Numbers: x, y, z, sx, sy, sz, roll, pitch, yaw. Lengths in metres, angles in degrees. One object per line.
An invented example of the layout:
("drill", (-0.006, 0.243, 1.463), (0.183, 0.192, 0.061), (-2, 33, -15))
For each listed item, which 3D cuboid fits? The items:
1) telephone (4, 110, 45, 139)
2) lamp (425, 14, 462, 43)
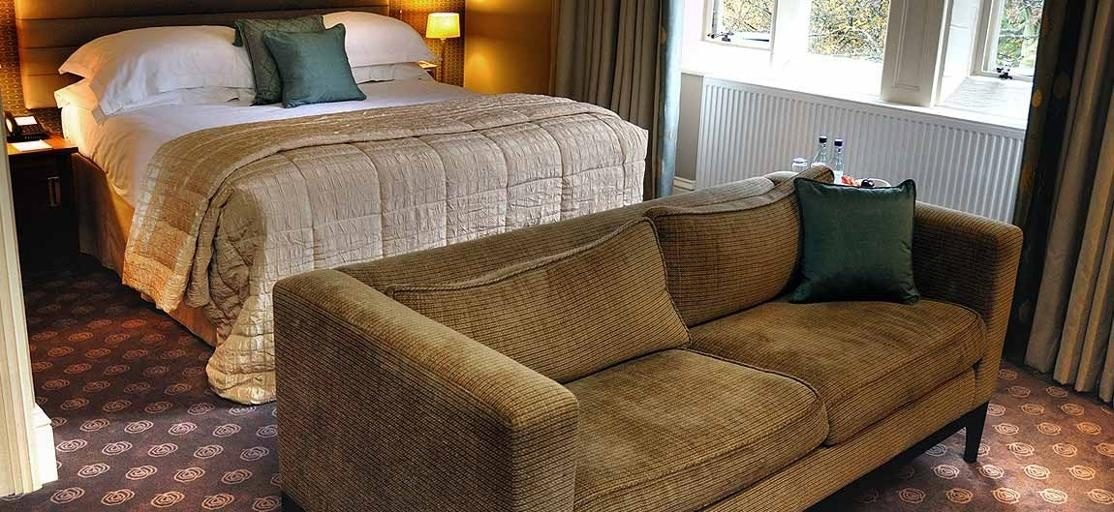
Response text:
("telephone", (-4.195, -1.021, 5.484), (0.257, 0.121, 0.316), (-27, 58, -39))
("lamp", (-1.147, -2.310, 7.031), (0.372, 0.179, 0.299), (-5, 26, -10))
